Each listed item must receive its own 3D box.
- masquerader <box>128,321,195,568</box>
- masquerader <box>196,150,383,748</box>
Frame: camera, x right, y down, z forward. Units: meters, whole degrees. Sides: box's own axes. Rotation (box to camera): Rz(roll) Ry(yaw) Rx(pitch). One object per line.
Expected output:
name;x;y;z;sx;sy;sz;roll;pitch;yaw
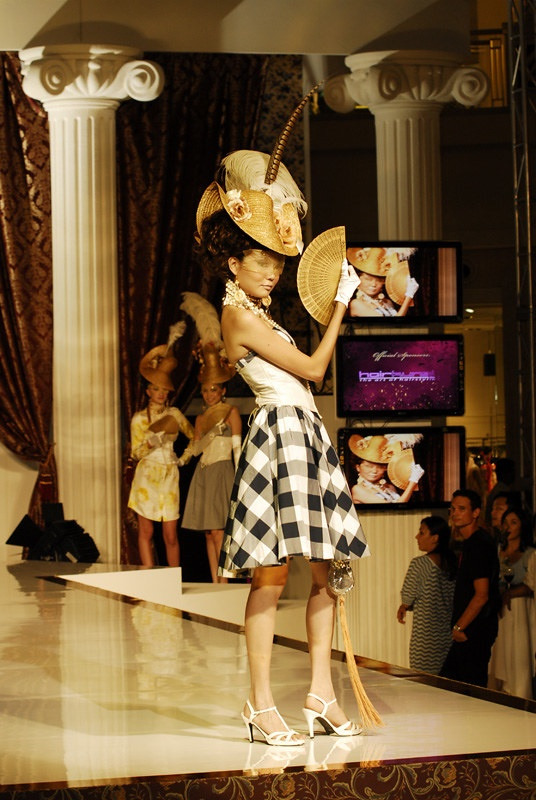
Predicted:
masquerader;-0.820;0.349;6.039;0.542;1.449;0.494;2;-3;-38
masquerader;0.025;0.097;2.008;0.461;1.357;0.407;4;-7;-44
